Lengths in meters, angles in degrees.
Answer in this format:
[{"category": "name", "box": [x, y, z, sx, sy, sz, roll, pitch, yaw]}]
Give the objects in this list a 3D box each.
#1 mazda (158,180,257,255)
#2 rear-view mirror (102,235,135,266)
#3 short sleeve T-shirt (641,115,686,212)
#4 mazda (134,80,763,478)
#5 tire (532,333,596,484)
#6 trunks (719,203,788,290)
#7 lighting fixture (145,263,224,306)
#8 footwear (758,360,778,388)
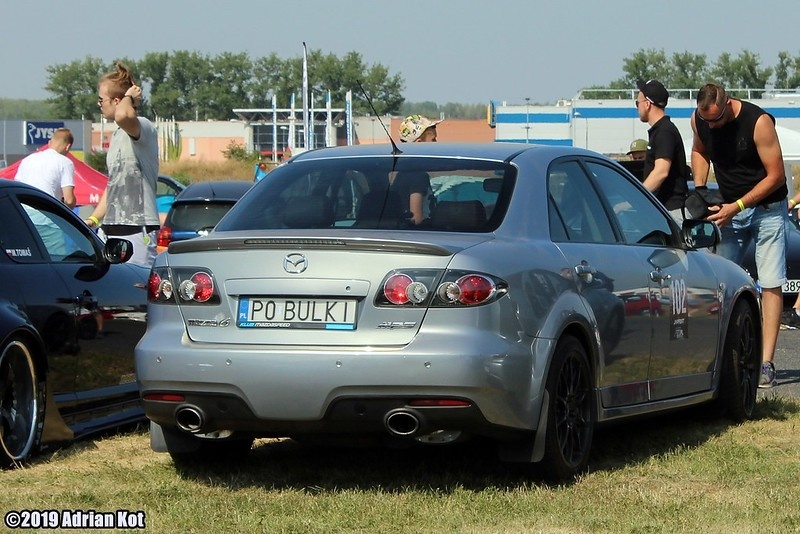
[{"category": "mazda", "box": [-3.107, -0.894, 16.783, 1.215, 1.200, 2.271, 0, 9, 1]}, {"category": "rear-view mirror", "box": [-2.227, -0.119, 8.323, 0.235, 0.240, 0.196, 6, 2, 22]}, {"category": "short sleeve T-shirt", "box": [2.766, -1.091, 10.786, 0.457, 0.977, 0.767, -5, 4, 5]}, {"category": "mazda", "box": [0.504, 0.235, 7.101, 4.283, 2.167, 1.707, -4, 7, -37]}, {"category": "tire", "box": [1.027, 0.898, 6.595, 0.214, 1.029, 0.861, -1, 5, 29]}, {"category": "trunks", "box": [3.383, -0.263, 9.962, 0.354, 0.980, 0.705, 9, -6, -35]}, {"category": "lighting fixture", "box": [-1.331, 0.117, 6.394, 0.547, 0.232, 0.080, 3, 6, 29]}, {"category": "footwear", "box": [3.349, 0.981, 9.381, 0.175, 0.191, 0.427, -3, -6, 22]}]
